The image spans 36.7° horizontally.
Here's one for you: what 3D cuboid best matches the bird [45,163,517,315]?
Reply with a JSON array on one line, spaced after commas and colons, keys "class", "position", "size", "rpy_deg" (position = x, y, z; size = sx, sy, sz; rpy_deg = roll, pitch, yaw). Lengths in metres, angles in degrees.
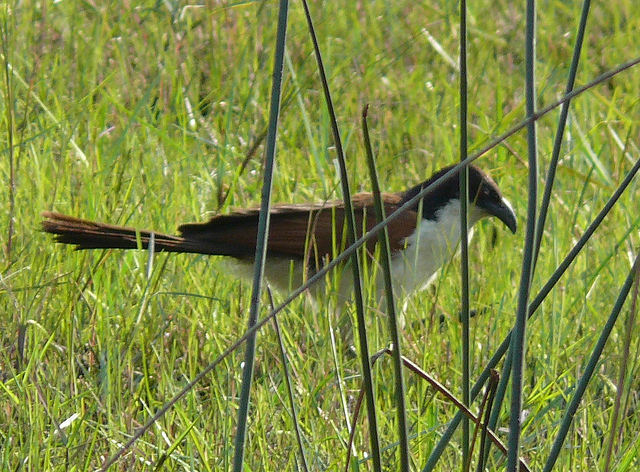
[{"class": "bird", "position": [-0.118, 0.177, 4.647], "size": [2.295, 1.073, 0.634], "rpy_deg": [3, -18, -14]}]
